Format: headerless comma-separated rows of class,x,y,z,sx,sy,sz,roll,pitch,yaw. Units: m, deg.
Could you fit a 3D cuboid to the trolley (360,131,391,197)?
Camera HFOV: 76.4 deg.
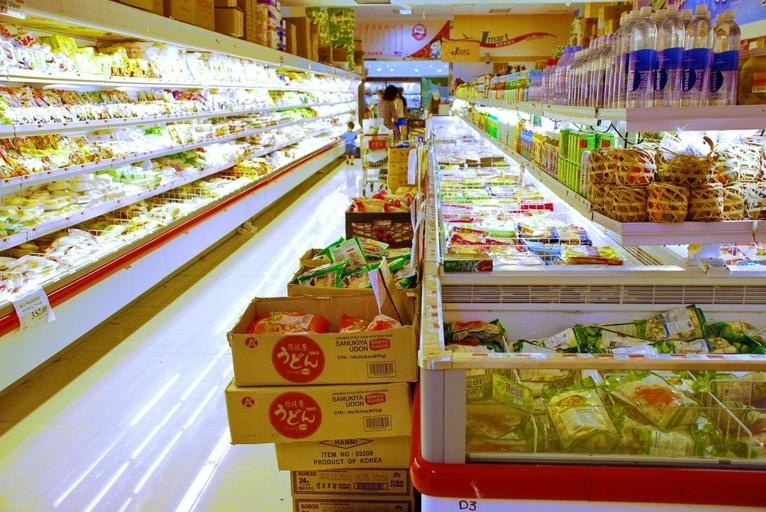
trolley,-0.050,-1.597,8.452,0.888,1.108,0.815,-1,15,0
